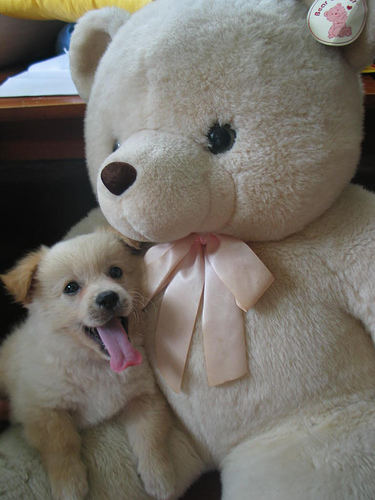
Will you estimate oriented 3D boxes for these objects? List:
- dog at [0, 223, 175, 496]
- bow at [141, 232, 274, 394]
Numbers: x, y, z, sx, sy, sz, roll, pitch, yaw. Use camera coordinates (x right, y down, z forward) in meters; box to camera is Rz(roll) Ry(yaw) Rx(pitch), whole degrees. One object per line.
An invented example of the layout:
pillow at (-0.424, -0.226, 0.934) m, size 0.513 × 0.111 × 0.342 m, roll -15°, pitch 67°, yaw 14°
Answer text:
dog at (-0.162, 0.168, 0.902) m, size 0.332 × 0.425 × 0.353 m, roll -2°, pitch 83°, yaw -22°
bow at (0.039, 0.092, 0.792) m, size 0.279 × 0.043 × 0.236 m, roll -3°, pitch 84°, yaw 30°
